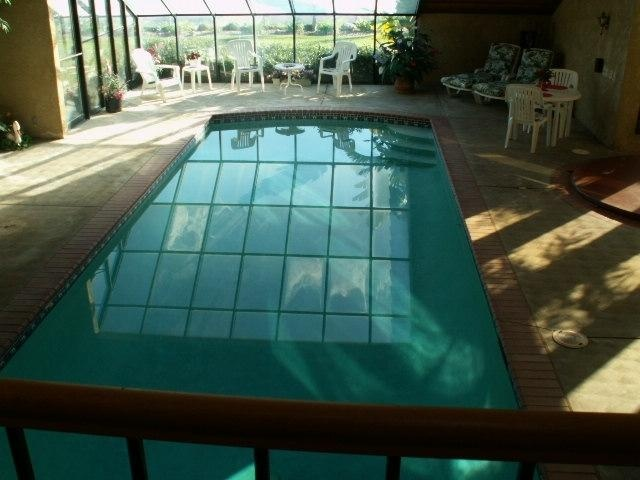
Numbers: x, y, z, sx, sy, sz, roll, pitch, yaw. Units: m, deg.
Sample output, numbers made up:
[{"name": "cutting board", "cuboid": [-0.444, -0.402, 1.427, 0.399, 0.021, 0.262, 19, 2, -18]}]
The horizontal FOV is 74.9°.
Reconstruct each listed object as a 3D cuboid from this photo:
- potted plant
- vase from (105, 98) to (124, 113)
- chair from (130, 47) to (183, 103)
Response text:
[{"name": "potted plant", "cuboid": [2.795, -5.411, 12.379, 2.276, 2.179, 2.233, -8, 27, -10]}, {"name": "vase", "cuboid": [-5.043, -3.287, 10.251, 0.369, 0.308, 0.342, 6, 14, -3]}, {"name": "chair", "cuboid": [-4.466, -4.422, 11.224, 1.130, 0.889, 0.933, 12, 32, 13]}]
